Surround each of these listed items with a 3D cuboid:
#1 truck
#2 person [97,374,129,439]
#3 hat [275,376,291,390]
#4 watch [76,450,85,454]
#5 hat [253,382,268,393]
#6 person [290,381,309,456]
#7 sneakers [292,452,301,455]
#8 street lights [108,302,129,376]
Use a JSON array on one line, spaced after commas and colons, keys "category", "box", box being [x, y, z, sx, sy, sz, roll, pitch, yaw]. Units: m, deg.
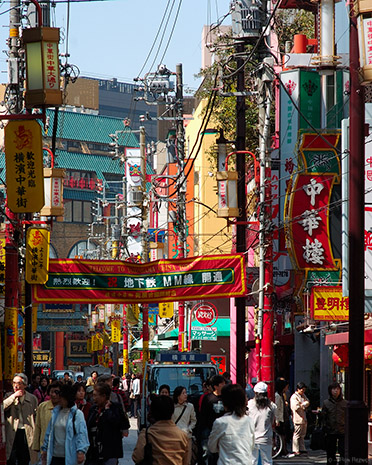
[{"category": "truck", "box": [-0.178, 3.075, 24.158, 0.996, 1.096, 1.653, 0, -11, -4]}, {"category": "person", "box": [-1.090, 2.750, 19.497, 0.339, 1.215, 0.486, -5, 21, 10]}, {"category": "hat", "box": [2.041, 3.195, 26.723, 0.232, 0.323, 0.318, 3, -6, 2]}, {"category": "watch", "box": [-1.387, 2.893, 16.739, 0.084, 0.044, 0.066, -2, -8, -5]}, {"category": "hat", "box": [1.130, 2.374, 19.433, 0.146, 0.127, 0.213, -1, 2, -12]}, {"category": "person", "box": [2.385, 3.893, 26.540, 0.383, 1.475, 1.055, -3, -8, 5]}, {"category": "sneakers", "box": [2.287, 4.576, 26.296, 0.153, 0.071, 0.053, -3, 2, 21]}, {"category": "street lights", "box": [-3.174, 5.021, 59.895, 0.704, 3.352, 0.497, 5, 9, 23]}]
